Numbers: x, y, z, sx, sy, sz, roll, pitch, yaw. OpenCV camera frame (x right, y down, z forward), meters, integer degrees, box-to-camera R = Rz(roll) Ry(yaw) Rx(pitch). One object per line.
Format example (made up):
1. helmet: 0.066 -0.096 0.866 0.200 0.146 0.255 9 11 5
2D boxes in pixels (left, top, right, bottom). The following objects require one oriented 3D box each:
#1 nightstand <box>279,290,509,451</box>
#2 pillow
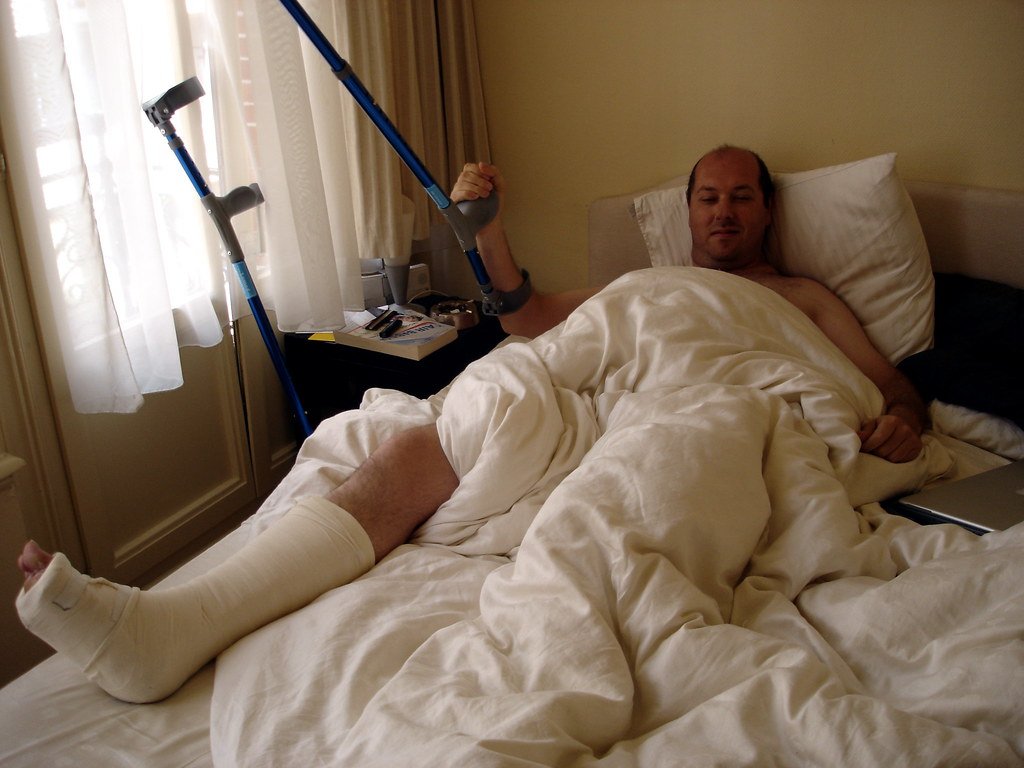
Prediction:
1. nightstand: -0.403 -0.036 2.738 0.488 0.393 0.521 -10 -1 10
2. pillow: 0.840 -0.386 2.366 0.573 0.706 0.189 -1 -7 26
